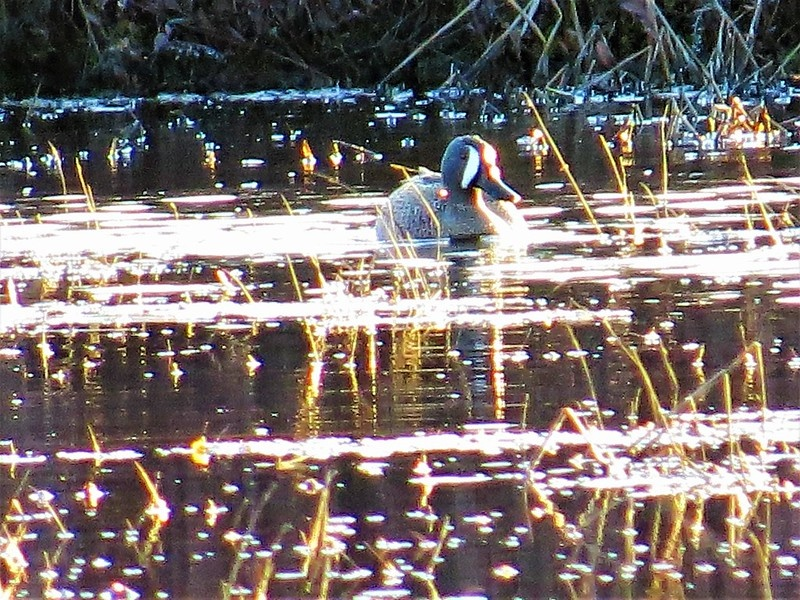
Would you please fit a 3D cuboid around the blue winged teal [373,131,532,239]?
[{"bbox_3d":[0.086,-0.163,2.574,0.250,0.152,0.161,-4,-9,32],"label":"blue winged teal"}]
